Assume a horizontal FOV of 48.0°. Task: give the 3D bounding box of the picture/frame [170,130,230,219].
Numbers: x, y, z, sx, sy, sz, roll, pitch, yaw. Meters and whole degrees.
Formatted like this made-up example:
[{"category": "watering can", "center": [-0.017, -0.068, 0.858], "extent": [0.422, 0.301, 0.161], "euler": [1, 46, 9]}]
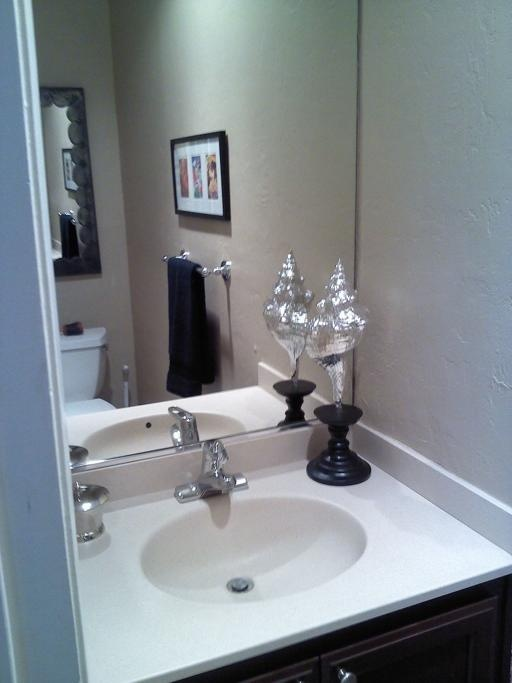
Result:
[{"category": "picture/frame", "center": [-0.120, -0.347, 1.172], "extent": [0.156, 0.191, 0.023], "euler": [-7, 11, -25]}]
